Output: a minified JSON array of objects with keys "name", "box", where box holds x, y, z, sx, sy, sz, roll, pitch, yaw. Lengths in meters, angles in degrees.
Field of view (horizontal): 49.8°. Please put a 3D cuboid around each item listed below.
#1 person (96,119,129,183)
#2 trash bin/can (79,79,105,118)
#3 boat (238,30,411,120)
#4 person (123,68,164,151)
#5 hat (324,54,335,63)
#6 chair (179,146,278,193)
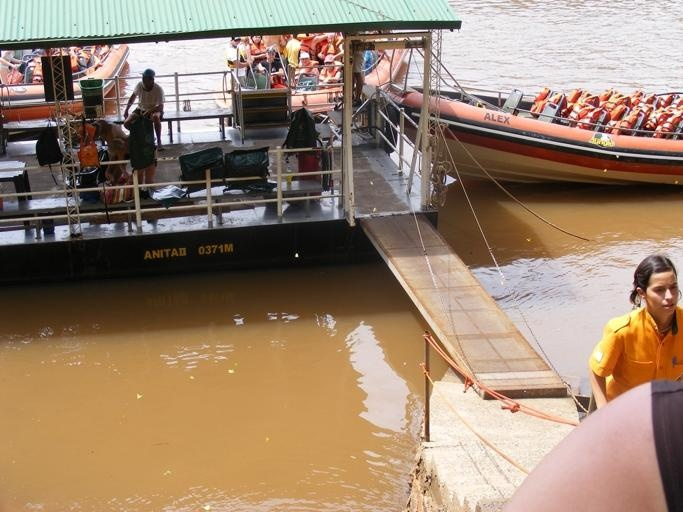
[{"name":"person","box":[-3.078,-1.399,10.182,0.403,0.908,1.006,-8,25,-17]},{"name":"trash bin/can","box":[-3.829,-2.468,11.540,0.317,0.687,0.420,-8,26,-18]},{"name":"boat","box":[-0.356,-4.530,17.425,4.573,1.486,2.817,-2,53,-5]},{"name":"person","box":[-3.187,-2.462,12.238,0.554,1.318,1.044,-6,25,-14]},{"name":"hat","box":[-0.283,-5.068,18.946,0.330,0.163,0.516,-9,21,3]},{"name":"chair","box":[-1.518,-1.169,10.099,0.916,0.519,0.284,-8,26,-6]}]
